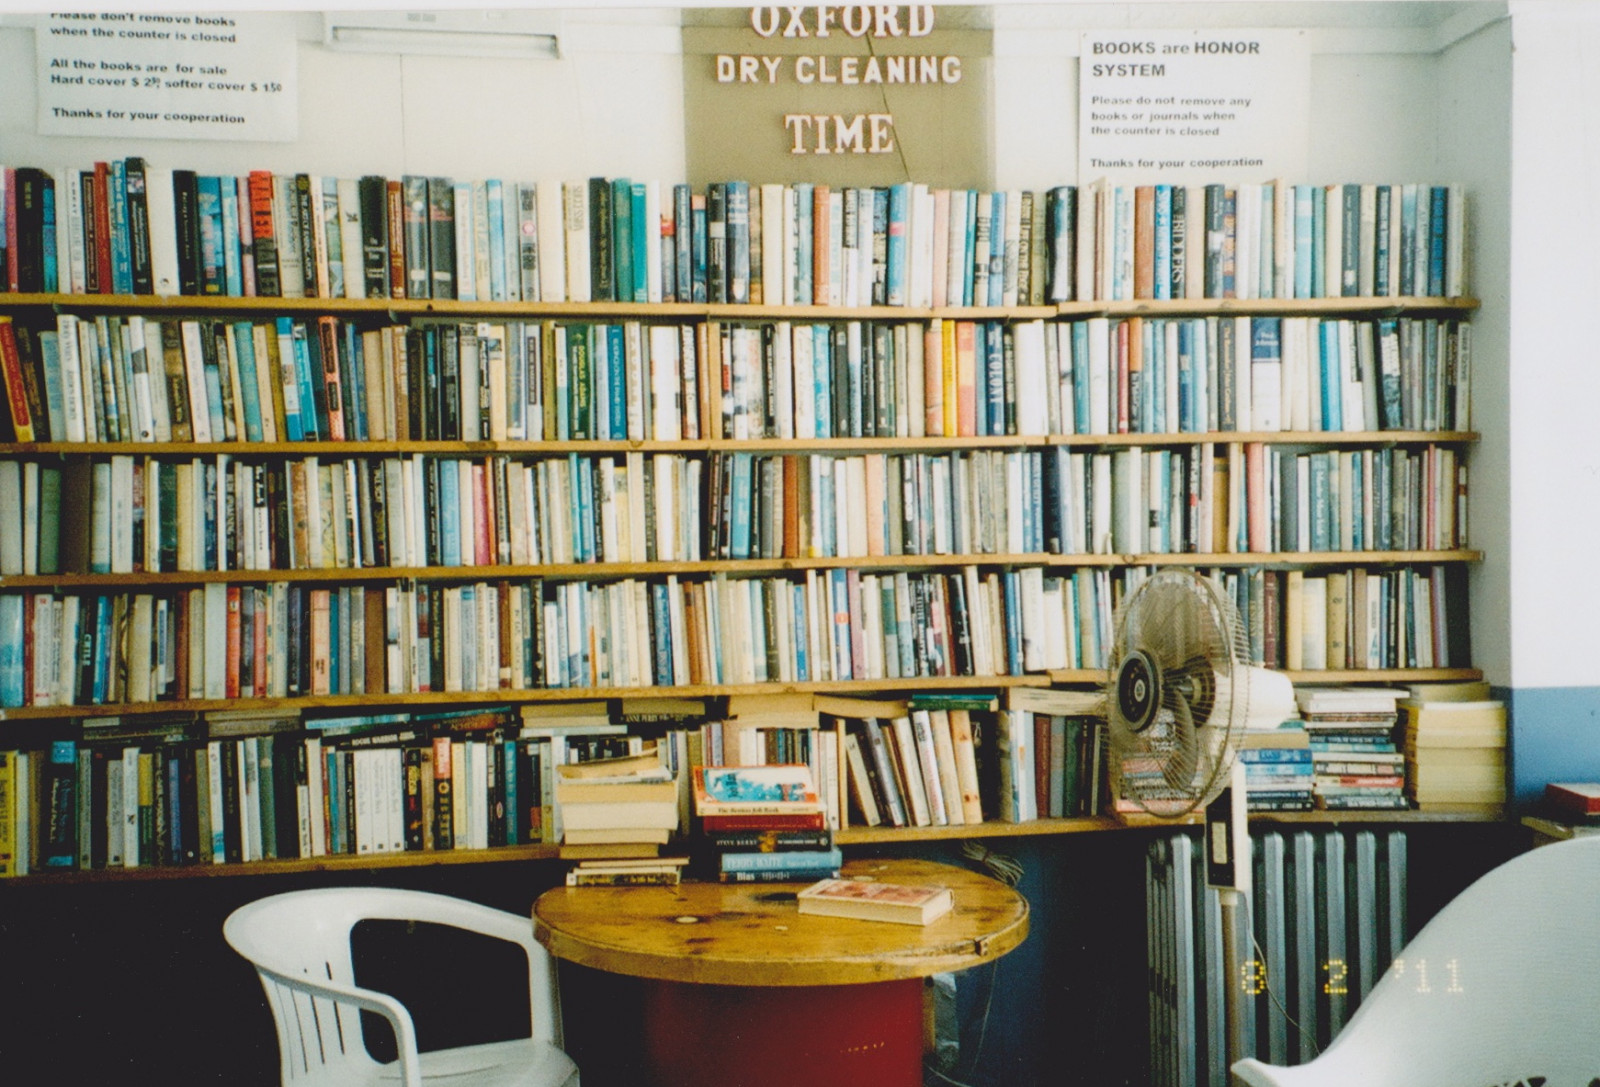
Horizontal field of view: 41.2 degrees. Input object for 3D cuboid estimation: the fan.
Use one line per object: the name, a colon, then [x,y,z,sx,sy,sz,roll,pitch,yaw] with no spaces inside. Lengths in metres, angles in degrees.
fan: [1.043,0.745,5.797,0.391,1.365,0.368,-1,5,8]
